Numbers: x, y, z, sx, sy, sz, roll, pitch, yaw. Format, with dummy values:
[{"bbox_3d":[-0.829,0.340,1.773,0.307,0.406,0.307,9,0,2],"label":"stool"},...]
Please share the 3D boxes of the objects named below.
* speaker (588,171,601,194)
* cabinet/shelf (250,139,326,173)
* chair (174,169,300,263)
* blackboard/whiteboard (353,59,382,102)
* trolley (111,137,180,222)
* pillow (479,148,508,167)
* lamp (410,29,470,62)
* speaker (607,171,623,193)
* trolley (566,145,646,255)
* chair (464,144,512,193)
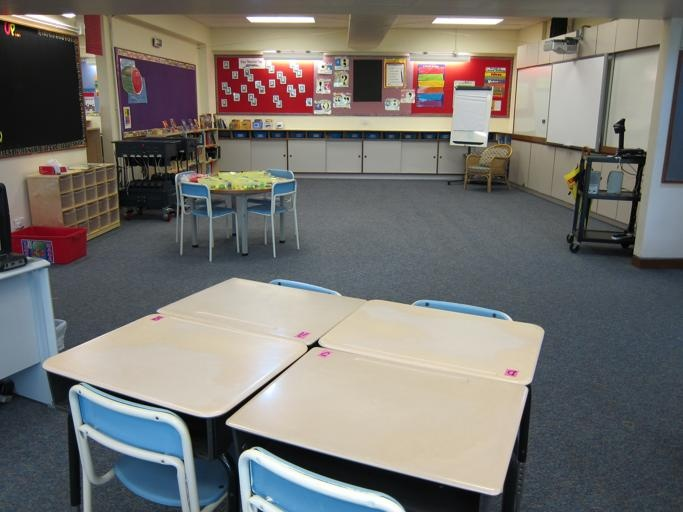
[{"bbox_3d":[3.146,-0.914,5.959,0.115,0.258,0.279,8,19,28],"label":"speaker"},{"bbox_3d":[-1.295,-2.372,11.478,1.798,0.775,0.218,1,17,8],"label":"cabinet/shelf"},{"bbox_3d":[-1.412,-0.713,6.582,1.496,0.897,2.555,-5,17,-13],"label":"chair"},{"bbox_3d":[0.609,-4.159,11.294,0.830,1.135,0.112,2,20,5],"label":"blackboard/whiteboard"},{"bbox_3d":[-3.025,-1.221,7.607,0.816,1.118,0.748,1,12,-3],"label":"trolley"},{"bbox_3d":[3.295,-2.134,10.285,0.565,0.458,0.888,0,17,5],"label":"pillow"},{"bbox_3d":[2.291,-4.767,11.053,1.407,0.665,0.414,2,17,10],"label":"lamp"},{"bbox_3d":[3.391,-0.918,5.946,0.152,0.266,0.219,7,18,26],"label":"speaker"},{"bbox_3d":[3.437,-0.680,6.175,0.914,1.111,0.908,-1,10,-1],"label":"trolley"},{"bbox_3d":[3.226,-1.898,10.482,0.900,1.211,0.961,-13,18,-40],"label":"chair"}]
